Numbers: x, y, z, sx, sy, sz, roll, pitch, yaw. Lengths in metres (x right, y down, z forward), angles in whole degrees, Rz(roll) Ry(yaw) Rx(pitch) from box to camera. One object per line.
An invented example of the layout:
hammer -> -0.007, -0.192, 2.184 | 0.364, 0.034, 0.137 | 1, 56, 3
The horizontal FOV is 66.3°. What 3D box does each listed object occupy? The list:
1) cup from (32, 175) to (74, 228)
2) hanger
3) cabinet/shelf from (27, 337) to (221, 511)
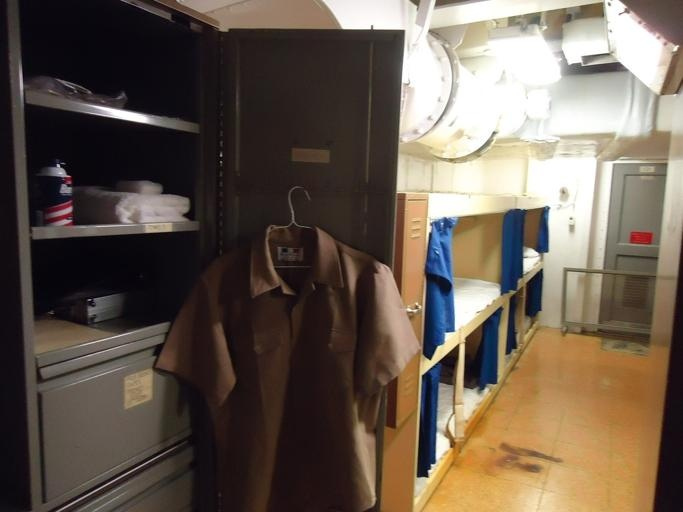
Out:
cup -> -0.874, -0.152, 1.595 | 0.127, 0.224, 0.137 | 0, -2, 0
hanger -> -0.196, -0.081, 1.978 | 0.178, 0.380, 0.015 | -1, -21, 2
cabinet/shelf -> -0.711, 0.357, 1.690 | 0.317, 0.451, 0.636 | 5, 7, 33
